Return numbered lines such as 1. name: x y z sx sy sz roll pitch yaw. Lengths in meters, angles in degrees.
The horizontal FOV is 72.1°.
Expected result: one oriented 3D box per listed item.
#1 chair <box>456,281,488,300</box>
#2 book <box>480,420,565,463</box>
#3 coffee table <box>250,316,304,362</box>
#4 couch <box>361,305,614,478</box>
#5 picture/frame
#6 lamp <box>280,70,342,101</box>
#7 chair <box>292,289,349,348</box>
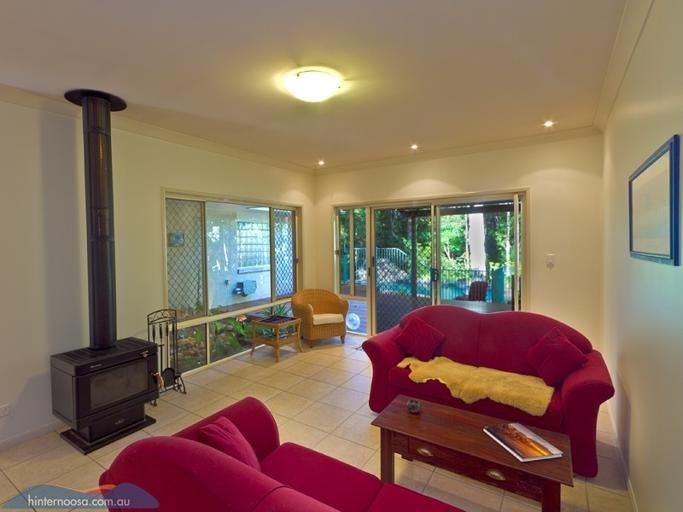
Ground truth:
1. chair: 1.752 0.458 6.213 0.246 0.305 0.203 0 -2 -24
2. book: 1.300 1.341 3.390 0.339 0.077 0.500 -4 12 -30
3. coffee table: -0.910 1.087 6.410 0.543 0.442 0.535 1 3 28
4. couch: 1.332 1.143 4.581 2.186 1.213 1.106 5 4 27
5. picture/frame: 2.162 -0.385 3.225 0.046 0.721 0.986 0 2 23
6. lamp: -0.259 -1.537 4.229 0.541 0.224 0.403 1 10 -4
7. chair: -0.357 0.910 6.994 0.796 0.804 0.681 -1 -1 -32
